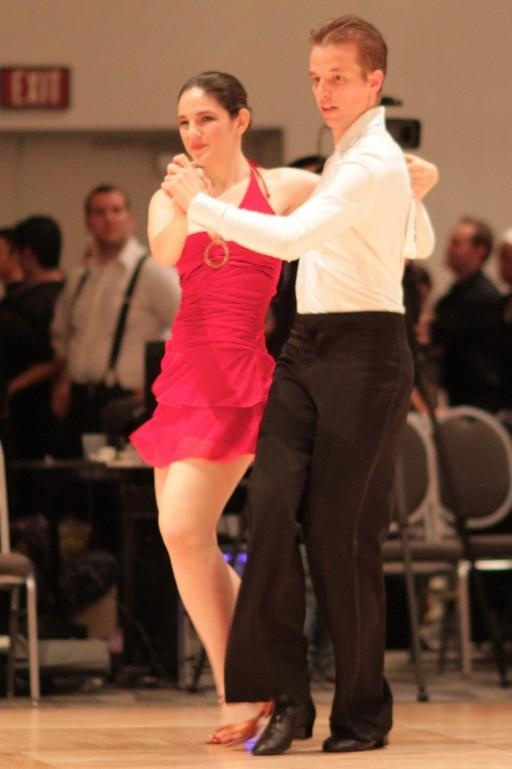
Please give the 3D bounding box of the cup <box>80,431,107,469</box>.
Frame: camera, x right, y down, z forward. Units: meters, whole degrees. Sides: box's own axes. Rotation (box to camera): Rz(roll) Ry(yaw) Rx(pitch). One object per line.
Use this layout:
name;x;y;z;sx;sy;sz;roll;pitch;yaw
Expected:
cup;-0.755;0.322;4.090;0.142;0.216;0.123;6;-31;-6

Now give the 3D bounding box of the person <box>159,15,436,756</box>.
person;0.072;0.017;1.693;0.479;1.487;0.321;0;-1;8
